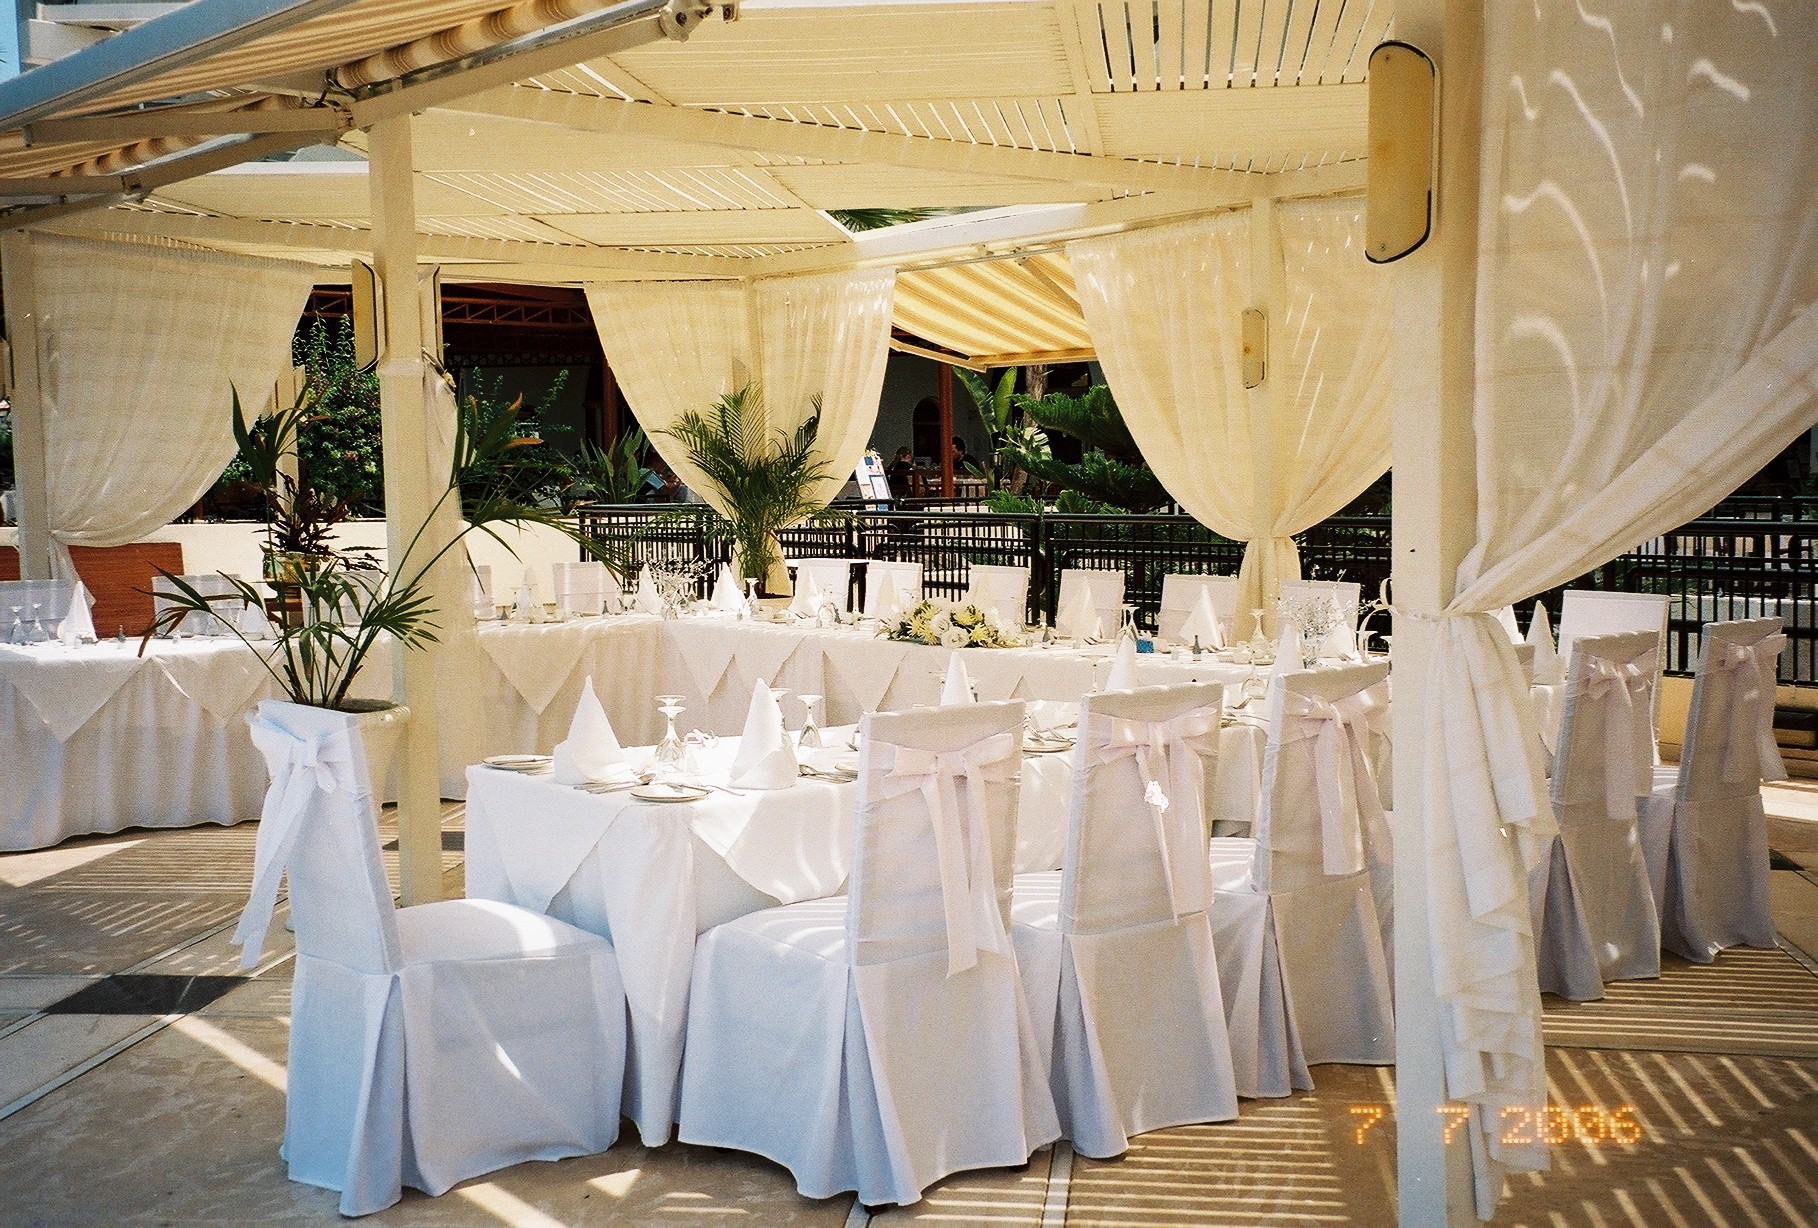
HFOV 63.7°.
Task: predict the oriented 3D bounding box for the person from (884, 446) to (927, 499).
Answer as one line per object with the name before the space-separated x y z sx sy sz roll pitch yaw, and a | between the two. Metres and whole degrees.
person | -0.069 -2.013 21.902 0.712 1.160 0.789 -1 9 7

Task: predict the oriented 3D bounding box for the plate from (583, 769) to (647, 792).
plate | -1.047 0.585 5.167 0.174 0.035 0.094 -4 8 -44

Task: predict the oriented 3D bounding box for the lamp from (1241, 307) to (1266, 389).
lamp | 2.152 -1.633 9.040 0.183 0.486 0.067 4 13 23

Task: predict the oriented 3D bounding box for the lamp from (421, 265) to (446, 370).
lamp | -3.336 -2.090 10.126 0.131 0.582 1.216 -5 14 -18

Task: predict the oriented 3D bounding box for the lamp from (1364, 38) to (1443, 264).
lamp | 1.438 -1.337 4.246 0.228 0.631 0.158 6 14 30
